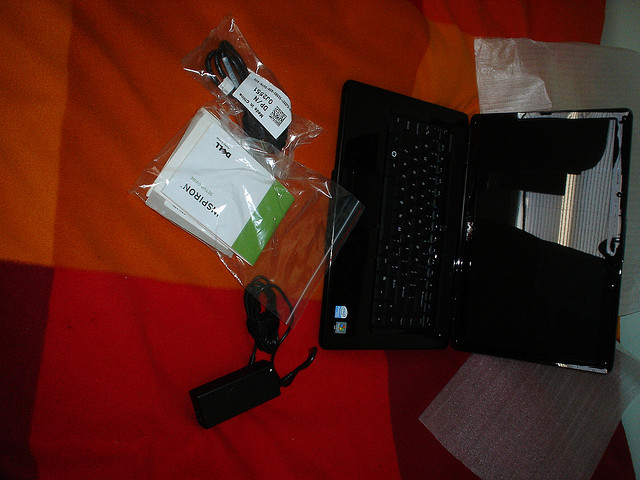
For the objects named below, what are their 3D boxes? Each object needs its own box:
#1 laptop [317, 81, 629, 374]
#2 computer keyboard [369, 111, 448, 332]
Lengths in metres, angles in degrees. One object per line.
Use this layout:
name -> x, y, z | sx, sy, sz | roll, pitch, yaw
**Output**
laptop -> 0.300, -0.019, 1.206 | 0.555, 0.678, 0.395 | 1, 0, -38
computer keyboard -> 0.185, -0.047, 1.141 | 0.190, 0.034, 0.572 | 5, 66, 2
